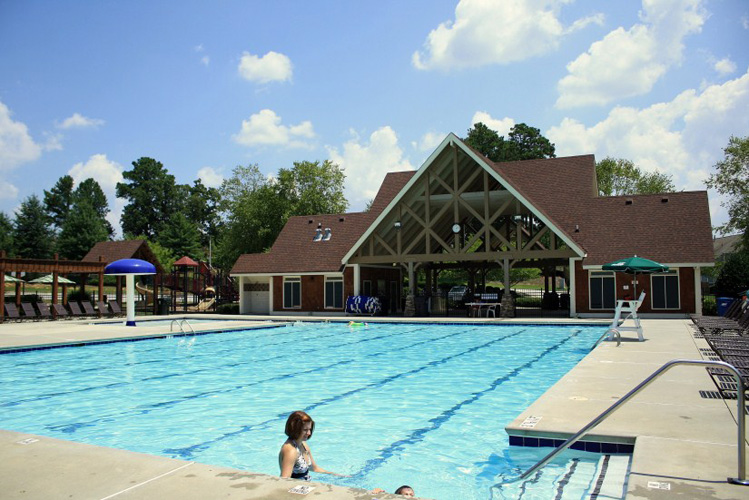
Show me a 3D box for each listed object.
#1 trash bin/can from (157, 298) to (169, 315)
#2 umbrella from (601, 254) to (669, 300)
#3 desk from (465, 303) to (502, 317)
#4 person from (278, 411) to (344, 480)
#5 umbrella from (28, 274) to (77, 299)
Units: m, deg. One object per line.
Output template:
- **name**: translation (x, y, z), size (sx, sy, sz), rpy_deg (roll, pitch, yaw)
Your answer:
- **trash bin/can**: translation (-13.774, 3.565, 37.214), size (0.682, 0.999, 0.401), rpy_deg (-2, -4, 15)
- **umbrella**: translation (12.996, 1.350, 28.382), size (2.254, 1.625, 2.351), rpy_deg (-2, 1, 8)
- **desk**: translation (6.284, 3.387, 33.222), size (1.561, 0.806, 1.966), rpy_deg (-4, -6, 29)
- **person**: translation (-1.210, 3.267, 9.673), size (0.801, 1.160, 0.423), rpy_deg (3, -6, -44)
- **umbrella**: translation (-27.958, 3.037, 49.662), size (3.083, 1.488, 3.002), rpy_deg (1, -3, -12)
